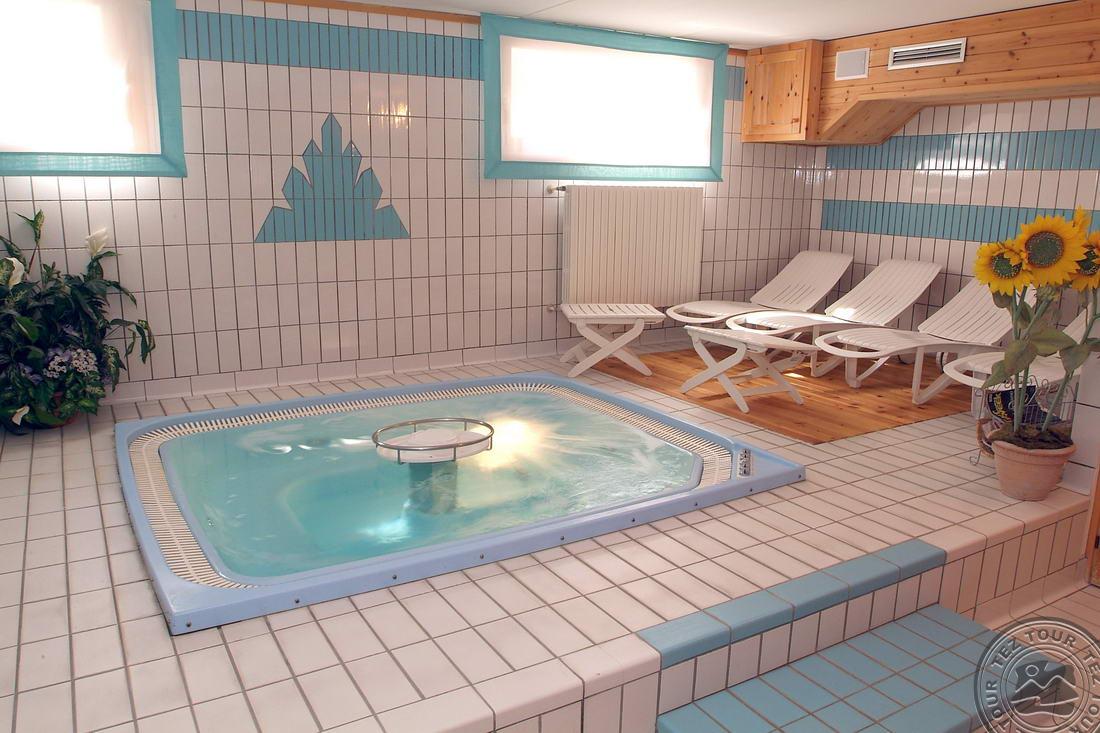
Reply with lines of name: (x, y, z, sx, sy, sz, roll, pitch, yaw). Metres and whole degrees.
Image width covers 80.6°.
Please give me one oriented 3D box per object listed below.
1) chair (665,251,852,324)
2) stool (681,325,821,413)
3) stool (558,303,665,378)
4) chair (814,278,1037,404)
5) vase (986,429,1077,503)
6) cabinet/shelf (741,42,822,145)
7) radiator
chair: (2.402, -0.817, 6.290, 0.739, 0.423, 1.373, 24, 22, 12)
stool: (1.480, -0.039, 5.286, 0.846, 0.536, 1.142, -10, 16, -30)
stool: (0.478, -0.246, 5.722, 1.102, 0.498, 0.630, -3, 16, -11)
chair: (3.121, -0.244, 5.373, 2.448, 0.767, 0.770, -12, 19, -25)
vase: (2.595, 0.588, 3.519, 0.439, 0.224, 0.378, 3, 3, -24)
cabinet/shelf: (2.206, -2.659, 6.234, 0.329, 0.868, 0.831, -13, 22, -24)
radiator: (0.641, -1.135, 6.004, 1.749, 1.021, 0.179, -3, 12, -21)
